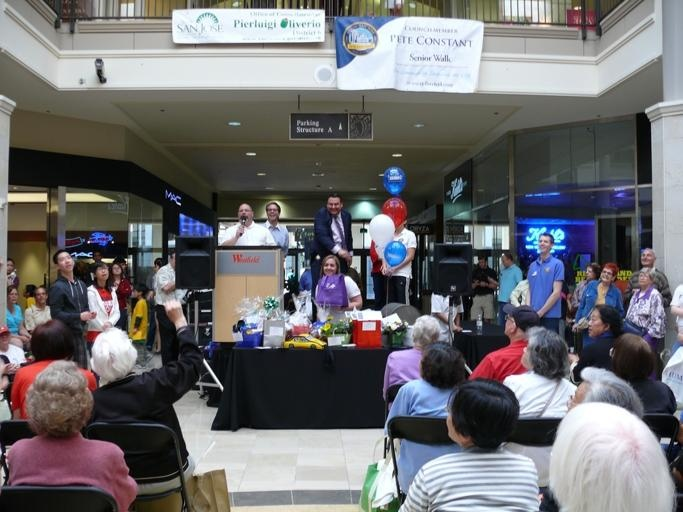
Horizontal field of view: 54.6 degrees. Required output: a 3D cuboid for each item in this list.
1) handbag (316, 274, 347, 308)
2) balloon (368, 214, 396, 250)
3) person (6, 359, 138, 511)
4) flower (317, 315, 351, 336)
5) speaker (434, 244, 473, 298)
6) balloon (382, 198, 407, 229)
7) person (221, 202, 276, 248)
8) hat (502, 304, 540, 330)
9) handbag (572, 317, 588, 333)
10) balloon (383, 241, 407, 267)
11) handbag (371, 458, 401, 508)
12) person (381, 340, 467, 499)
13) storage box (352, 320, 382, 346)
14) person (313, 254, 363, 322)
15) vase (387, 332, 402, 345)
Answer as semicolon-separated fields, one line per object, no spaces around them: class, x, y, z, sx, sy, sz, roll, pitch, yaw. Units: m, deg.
handbag;-0.117;0.411;7.608;0.325;0.379;0.185;1;3;10
balloon;0.529;-0.328;8.997;0.376;0.555;0.407;1;-4;-1
person;-1.486;1.031;3.574;0.581;0.829;0.342;1;11;17
flower;-0.077;0.755;7.047;0.361;0.145;0.271;-1;11;11
speaker;1.118;0.140;7.068;0.443;0.707;0.463;0;-2;1
balloon;0.736;-0.608;9.347;0.313;0.471;0.340;6;-10;7
person;-1.213;-0.367;8.405;0.603;0.657;1.361;-3;11;-3
hat;1.434;0.484;5.230;0.225;0.161;0.501;-2;11;1
handbag;2.984;0.862;8.298;0.147;0.081;0.212;-21;-3;-5
balloon;0.687;-0.016;8.697;0.283;0.375;0.310;0;11;12
handbag;0.297;1.539;4.457;0.117;0.308;0.287;7;-7;-1
person;0.569;1.186;5.365;0.501;1.380;0.424;9;-7;10
storage box;0.274;0.799;7.039;0.246;0.267;0.261;0;-2;3
person;-0.080;0.402;8.056;0.603;1.047;0.556;-6;-14;6
vase;0.563;0.879;7.047;0.108;0.109;0.136;2;0;-2
